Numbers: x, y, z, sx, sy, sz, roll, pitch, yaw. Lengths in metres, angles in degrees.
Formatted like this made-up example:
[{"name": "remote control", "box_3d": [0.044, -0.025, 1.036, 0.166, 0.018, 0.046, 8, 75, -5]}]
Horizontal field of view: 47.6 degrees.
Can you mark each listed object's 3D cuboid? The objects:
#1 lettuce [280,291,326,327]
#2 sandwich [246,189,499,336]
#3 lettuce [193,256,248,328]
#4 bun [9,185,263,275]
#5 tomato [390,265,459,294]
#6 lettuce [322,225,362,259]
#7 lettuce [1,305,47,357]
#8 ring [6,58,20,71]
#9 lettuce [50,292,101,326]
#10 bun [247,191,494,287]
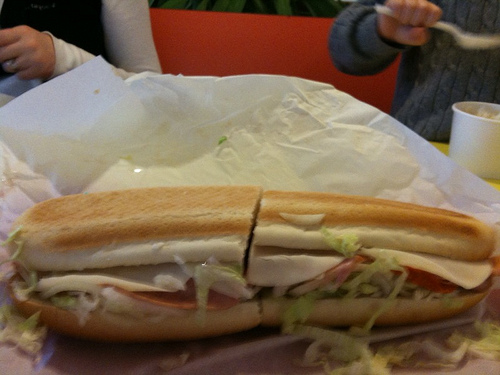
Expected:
[{"name": "lettuce", "box_3d": [0.076, 0.168, 0.797, 0.063, 0.042, 0.018, -16, 40, -27]}, {"name": "sandwich", "box_3d": [0.175, 0.101, 0.805, 0.290, 0.127, 0.214, 1, 0, 1]}, {"name": "lettuce", "box_3d": [-0.051, 0.139, 0.788, 0.079, 0.085, 0.049, -19, 41, -29]}, {"name": "bun", "box_3d": [-0.167, 0.053, 0.810, 0.276, 0.059, 0.146, 1, 18, 0]}, {"name": "tomato", "box_3d": [0.251, 0.131, 0.806, 0.078, 0.016, 0.046, 14, -9, -1]}, {"name": "lettuce", "box_3d": [0.137, 0.081, 0.791, 0.055, 0.018, 0.070, -5, 8, 1]}, {"name": "lettuce", "box_3d": [-0.315, 0.197, 0.775, 0.059, 0.054, 0.021, -1, -5, -14]}, {"name": "ring", "box_3d": [-0.465, -0.239, 1.105, 0.019, 0.006, 0.020, 28, 43, -30]}, {"name": "lettuce", "box_3d": [-0.242, 0.161, 0.780, 0.066, 0.035, 0.029, 16, 37, 19]}, {"name": "bun", "box_3d": [0.171, 0.071, 0.814, 0.286, 0.077, 0.149, 6, 32, -1]}]
